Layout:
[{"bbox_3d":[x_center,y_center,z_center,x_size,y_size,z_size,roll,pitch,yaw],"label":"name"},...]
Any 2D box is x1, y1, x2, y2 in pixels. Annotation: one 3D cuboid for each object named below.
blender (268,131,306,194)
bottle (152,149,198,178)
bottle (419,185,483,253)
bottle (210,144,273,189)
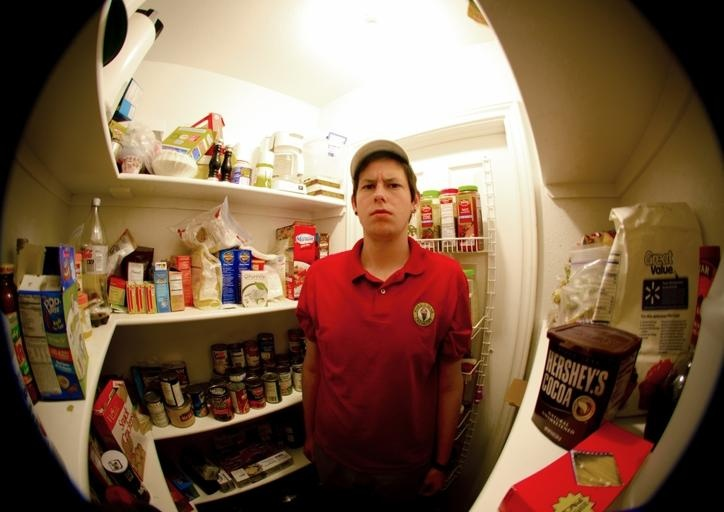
[{"bbox_3d":[-0.364,-0.446,2.177,0.233,0.275,0.170,6,2,34],"label":"blender"},{"bbox_3d":[-0.731,-0.337,1.767,0.120,0.085,0.124,8,-14,2],"label":"bottle"},{"bbox_3d":[0.391,-0.155,1.973,0.255,0.305,0.094,-3,-8,27],"label":"bottle"},{"bbox_3d":[-0.533,-0.389,1.978,0.187,0.191,0.109,12,-26,-28],"label":"bottle"}]
